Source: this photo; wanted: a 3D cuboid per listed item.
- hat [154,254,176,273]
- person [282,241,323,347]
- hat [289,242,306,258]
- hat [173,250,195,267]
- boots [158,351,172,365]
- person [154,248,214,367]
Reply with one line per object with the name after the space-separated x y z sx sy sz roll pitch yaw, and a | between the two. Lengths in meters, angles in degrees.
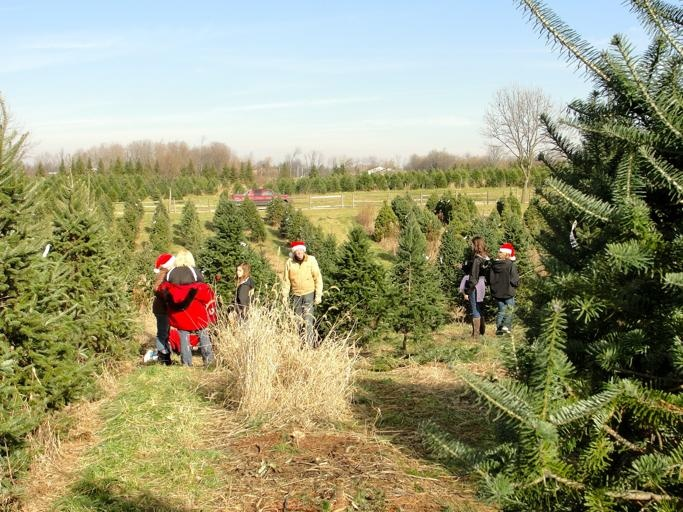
-2.516 0.089 8.032 0.309 0.181 0.237 -18 42 19 | hat
-0.551 0.490 8.140 0.588 1.280 2.049 -1 7 -2 | person
-0.652 -0.116 8.683 0.199 0.254 0.231 -10 14 -42 | hat
-2.223 0.027 7.987 0.256 0.288 0.208 3 7 19 | hat
-2.480 1.442 8.079 0.137 0.201 0.193 -3 -9 33 | boots
-2.161 0.761 7.928 0.777 1.644 0.687 -6 22 -10 | person
